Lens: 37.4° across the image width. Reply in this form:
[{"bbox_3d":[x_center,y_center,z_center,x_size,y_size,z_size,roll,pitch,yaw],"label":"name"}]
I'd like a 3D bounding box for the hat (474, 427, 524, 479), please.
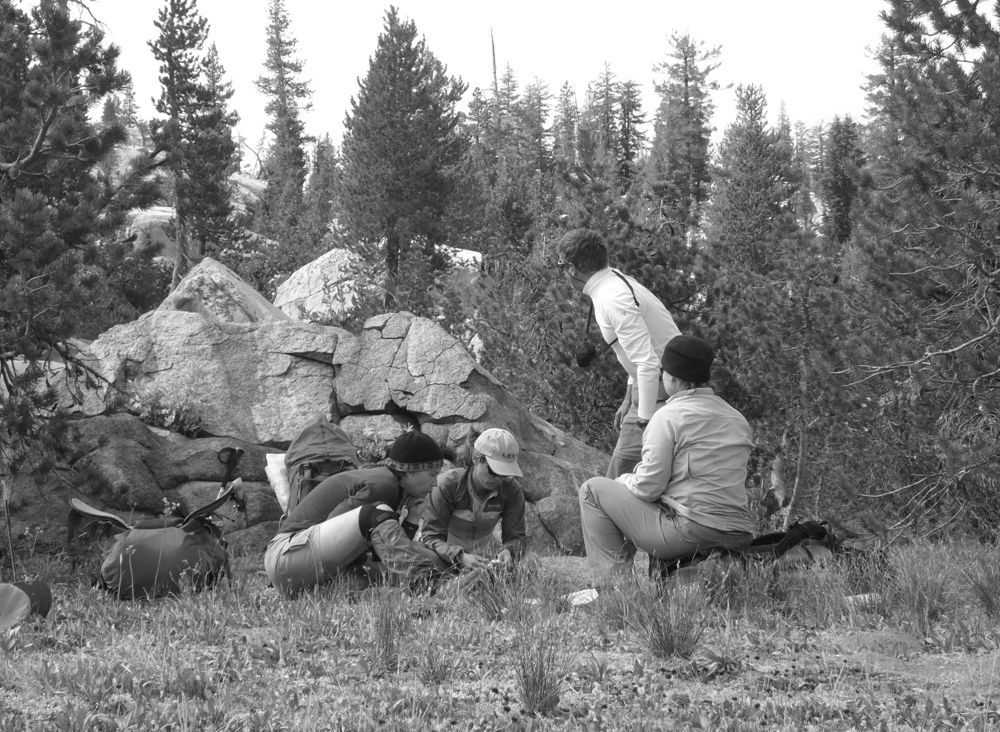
[{"bbox_3d":[0.007,1.104,18.480,0.443,0.365,0.641,2,38,-48],"label":"hat"}]

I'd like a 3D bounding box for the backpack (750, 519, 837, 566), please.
[{"bbox_3d":[3.670,2.194,18.511,0.771,0.300,0.561,-11,32,-14],"label":"backpack"}]

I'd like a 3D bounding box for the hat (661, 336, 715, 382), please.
[{"bbox_3d":[2.301,-0.113,18.303,0.458,0.480,0.599,14,14,-13],"label":"hat"}]

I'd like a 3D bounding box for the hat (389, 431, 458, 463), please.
[{"bbox_3d":[-1.043,1.072,18.614,0.692,0.379,0.530,2,4,0],"label":"hat"}]
